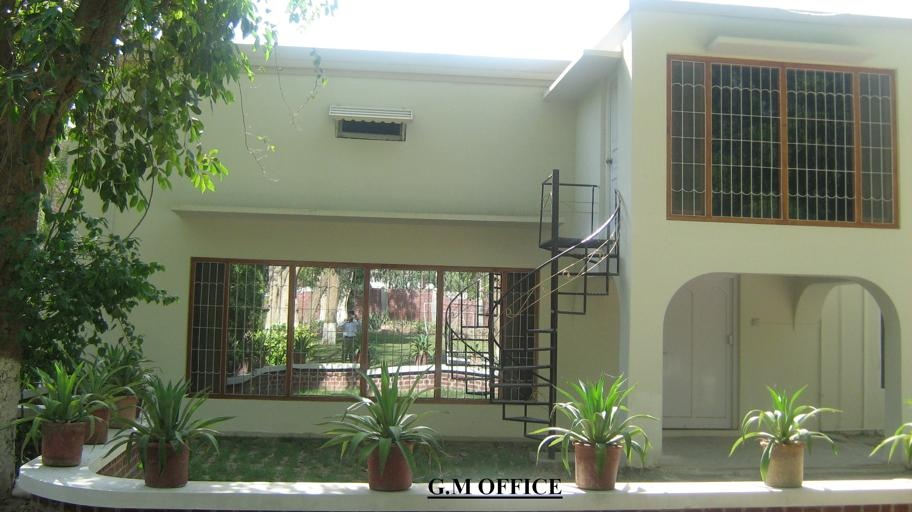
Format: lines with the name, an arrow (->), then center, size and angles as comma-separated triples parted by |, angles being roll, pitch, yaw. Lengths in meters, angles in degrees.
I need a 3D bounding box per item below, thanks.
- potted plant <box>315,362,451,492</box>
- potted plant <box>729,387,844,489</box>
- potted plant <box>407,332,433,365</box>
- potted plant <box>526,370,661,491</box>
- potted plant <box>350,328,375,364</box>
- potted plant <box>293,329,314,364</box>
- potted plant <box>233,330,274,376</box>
potted plant -> -0.873, 2.244, 9.732 | 1.399, 1.355, 1.550 | 10, -9, -39
potted plant -> 5.189, 2.933, 12.169 | 1.694, 1.438, 1.680 | 1, -9, 2
potted plant -> -0.669, 1.804, 14.632 | 0.554, 0.546, 0.552 | -4, -11, 37
potted plant -> 1.848, 2.397, 9.866 | 1.430, 1.212, 1.426 | 9, -12, -36
potted plant -> -1.775, 1.760, 14.528 | 0.539, 0.648, 0.518 | 2, -5, -19
potted plant -> -2.984, 1.795, 14.575 | 0.422, 0.576, 0.431 | 2, -2, 27
potted plant -> -3.910, 1.862, 14.750 | 0.883, 0.928, 0.732 | -1, -7, -8
